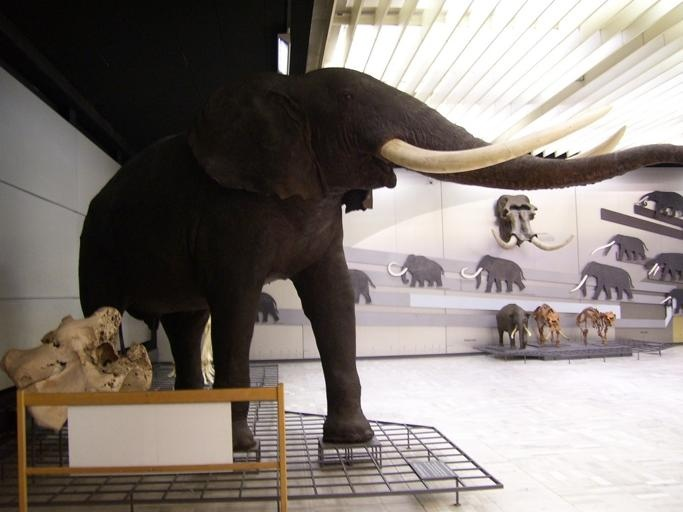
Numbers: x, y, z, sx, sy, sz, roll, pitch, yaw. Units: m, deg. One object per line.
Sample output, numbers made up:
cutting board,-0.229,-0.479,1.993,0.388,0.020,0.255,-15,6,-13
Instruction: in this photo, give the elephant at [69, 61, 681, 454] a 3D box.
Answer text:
elephant,-0.280,0.044,2.488,2.667,1.887,0.797,-2,0,22
